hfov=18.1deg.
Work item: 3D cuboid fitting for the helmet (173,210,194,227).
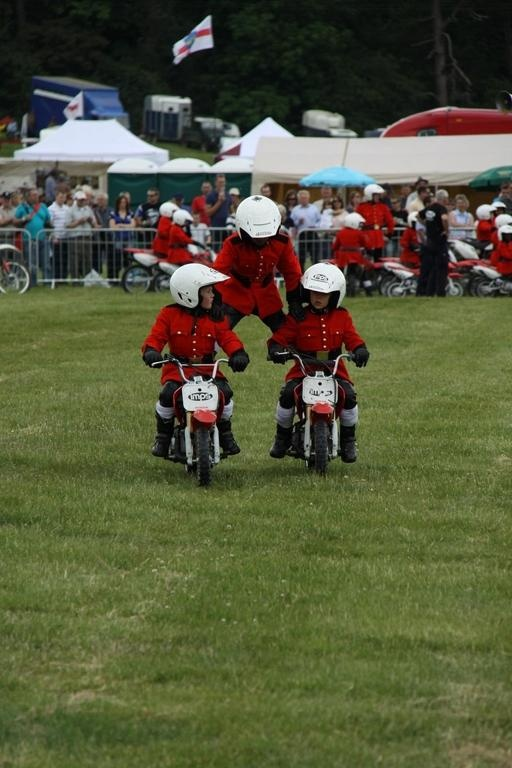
[{"bbox_3d":[-0.870,-2.026,19.575,0.227,0.190,0.163,5,37,10],"label":"helmet"}]

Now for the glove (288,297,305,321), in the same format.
[{"bbox_3d":[0.269,-0.453,9.914,0.074,0.049,0.143,-13,29,2],"label":"glove"}]

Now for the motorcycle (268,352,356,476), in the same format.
[{"bbox_3d":[0.398,0.192,9.741,0.397,0.758,0.535,-6,12,-27],"label":"motorcycle"}]

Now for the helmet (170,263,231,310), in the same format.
[{"bbox_3d":[-0.320,-0.584,9.634,0.321,0.221,0.227,2,17,12],"label":"helmet"}]

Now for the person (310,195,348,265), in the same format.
[{"bbox_3d":[1.098,-2.003,21.506,0.328,0.963,0.266,7,30,3],"label":"person"}]

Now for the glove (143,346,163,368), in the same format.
[{"bbox_3d":[-0.598,-0.148,9.488,0.115,0.121,0.208,-1,10,-4],"label":"glove"}]

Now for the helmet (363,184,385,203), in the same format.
[{"bbox_3d":[1.472,-2.335,19.738,0.256,0.208,0.209,8,20,40],"label":"helmet"}]

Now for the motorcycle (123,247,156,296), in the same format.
[{"bbox_3d":[-1.489,-1.422,20.626,0.629,0.415,0.347,-1,13,1],"label":"motorcycle"}]

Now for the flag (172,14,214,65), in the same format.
[{"bbox_3d":[-0.378,-2.113,9.891,0.284,0.036,0.301,-18,51,23],"label":"flag"}]

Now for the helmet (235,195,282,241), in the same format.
[{"bbox_3d":[0.020,-1.027,10.021,0.273,0.274,0.282,0,11,4],"label":"helmet"}]

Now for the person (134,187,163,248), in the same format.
[{"bbox_3d":[-1.380,-2.066,21.777,0.389,1.113,0.328,0,7,4],"label":"person"}]

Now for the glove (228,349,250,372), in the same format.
[{"bbox_3d":[-0.086,-0.133,9.497,0.101,0.139,0.049,5,0,2],"label":"glove"}]

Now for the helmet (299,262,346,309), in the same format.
[{"bbox_3d":[0.423,-0.574,9.783,0.213,0.228,0.286,10,27,16],"label":"helmet"}]

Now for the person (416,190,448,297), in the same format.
[{"bbox_3d":[2.250,-1.725,19.403,0.407,1.232,0.547,-12,13,-37],"label":"person"}]

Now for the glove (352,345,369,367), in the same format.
[{"bbox_3d":[0.663,-0.162,9.676,0.096,0.132,0.048,6,1,32],"label":"glove"}]

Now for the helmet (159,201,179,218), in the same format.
[{"bbox_3d":[-1.060,-2.104,19.741,0.217,0.182,0.185,-9,25,10],"label":"helmet"}]

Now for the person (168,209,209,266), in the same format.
[{"bbox_3d":[-0.844,-1.719,19.767,0.405,0.775,0.329,3,5,17],"label":"person"}]

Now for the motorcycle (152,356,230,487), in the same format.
[{"bbox_3d":[-0.374,0.224,9.546,0.439,0.774,0.691,-1,11,-3],"label":"motorcycle"}]

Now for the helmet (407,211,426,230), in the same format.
[{"bbox_3d":[2.028,-2.013,19.907,0.168,0.193,0.220,-1,3,-10],"label":"helmet"}]

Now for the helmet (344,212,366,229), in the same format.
[{"bbox_3d":[1.215,-1.925,19.156,0.241,0.192,0.186,-4,28,1],"label":"helmet"}]

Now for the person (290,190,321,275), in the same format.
[{"bbox_3d":[0.731,-2.002,21.435,0.376,1.076,0.312,-6,10,-1],"label":"person"}]

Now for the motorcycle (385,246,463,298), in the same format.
[{"bbox_3d":[2.095,-1.337,20.094,0.867,0.548,0.483,1,5,8],"label":"motorcycle"}]

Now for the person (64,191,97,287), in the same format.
[{"bbox_3d":[-2.324,-1.957,21.523,0.401,1.192,0.419,-2,11,-6],"label":"person"}]
